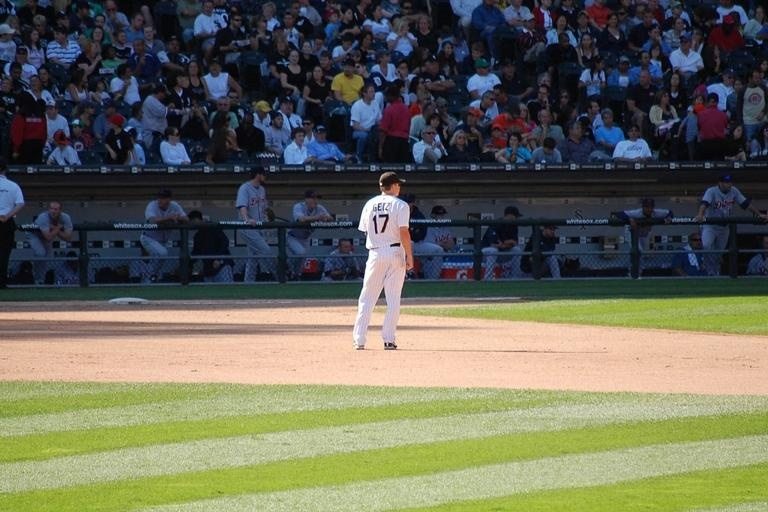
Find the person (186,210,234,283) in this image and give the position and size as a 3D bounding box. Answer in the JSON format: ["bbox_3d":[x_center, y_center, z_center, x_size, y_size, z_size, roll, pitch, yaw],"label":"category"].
[{"bbox_3d":[-3.345,-0.197,37.704,0.780,1.351,0.622,2,0,-5],"label":"person"}]

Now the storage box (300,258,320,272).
[{"bbox_3d":[-1.385,0.157,37.619,0.459,0.307,0.246,3,15,6],"label":"storage box"}]

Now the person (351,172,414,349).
[{"bbox_3d":[0.062,0.106,31.089,1.075,2.768,1.327,1,-1,-5],"label":"person"}]

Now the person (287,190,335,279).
[{"bbox_3d":[-1.434,-0.412,38.053,0.964,1.717,0.731,-2,-2,1],"label":"person"}]

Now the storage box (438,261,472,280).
[{"bbox_3d":[1.563,0.309,37.885,0.656,0.237,0.110,2,-1,-19],"label":"storage box"}]

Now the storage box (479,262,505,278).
[{"bbox_3d":[2.264,0.303,38.035,0.327,0.230,0.321,-7,9,-44],"label":"storage box"}]

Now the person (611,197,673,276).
[{"bbox_3d":[5.336,-0.370,38.469,1.193,1.658,1.032,4,12,4],"label":"person"}]

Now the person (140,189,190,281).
[{"bbox_3d":[-4.248,-0.363,37.539,0.894,1.810,1.062,-1,4,-17],"label":"person"}]

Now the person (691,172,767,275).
[{"bbox_3d":[7.020,-0.618,38.408,1.347,2.045,1.050,2,-1,-3],"label":"person"}]

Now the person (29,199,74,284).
[{"bbox_3d":[-6.460,-0.234,37.245,0.900,1.794,0.687,1,0,-13],"label":"person"}]
